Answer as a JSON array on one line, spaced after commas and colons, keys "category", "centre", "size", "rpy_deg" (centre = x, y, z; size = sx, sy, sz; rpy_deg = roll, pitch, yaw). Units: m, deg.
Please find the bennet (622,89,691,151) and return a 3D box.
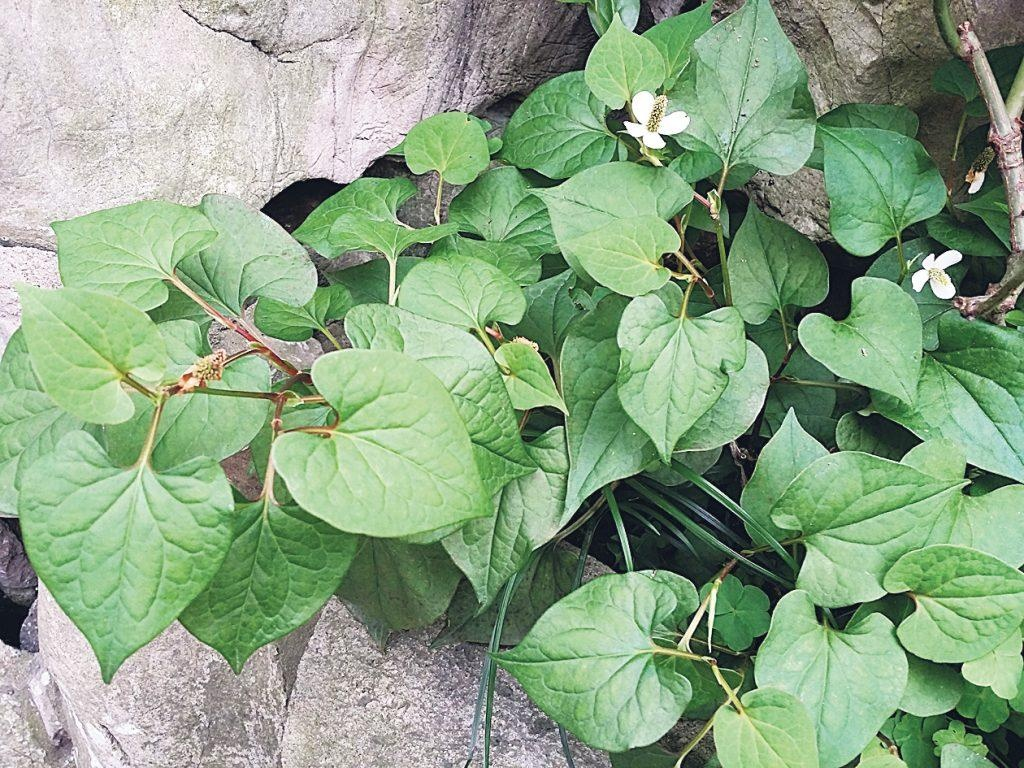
[{"category": "bennet", "centre": [0.305, -0.557, 2.683], "size": [0.127, 0.114, 0.085], "rpy_deg": [52, 1, 3]}]
